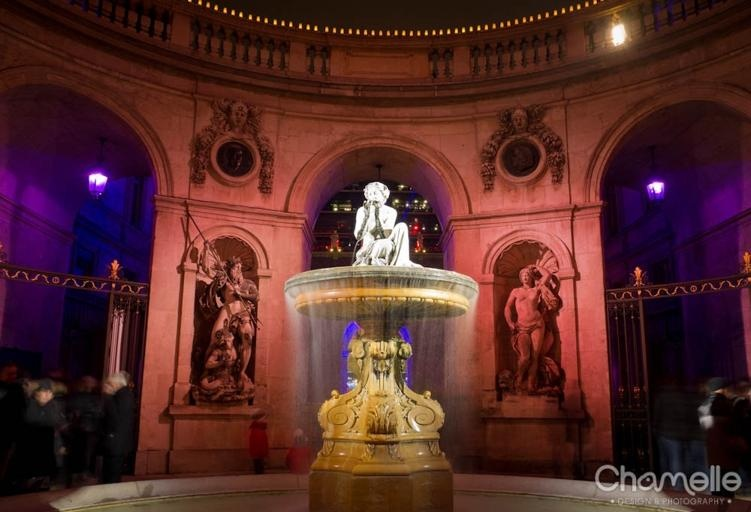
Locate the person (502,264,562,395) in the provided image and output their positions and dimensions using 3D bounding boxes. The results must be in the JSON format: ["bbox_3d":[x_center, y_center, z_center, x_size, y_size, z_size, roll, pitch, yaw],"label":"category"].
[{"bbox_3d":[3.441,1.590,13.608,1.161,2.761,0.693,-3,-17,14],"label":"person"}]

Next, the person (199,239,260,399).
[{"bbox_3d":[-3.161,1.400,13.560,1.351,3.349,0.878,5,-17,-10],"label":"person"}]

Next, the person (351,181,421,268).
[{"bbox_3d":[0.022,-0.225,10.480,1.162,1.599,1.284,1,-25,-9],"label":"person"}]
